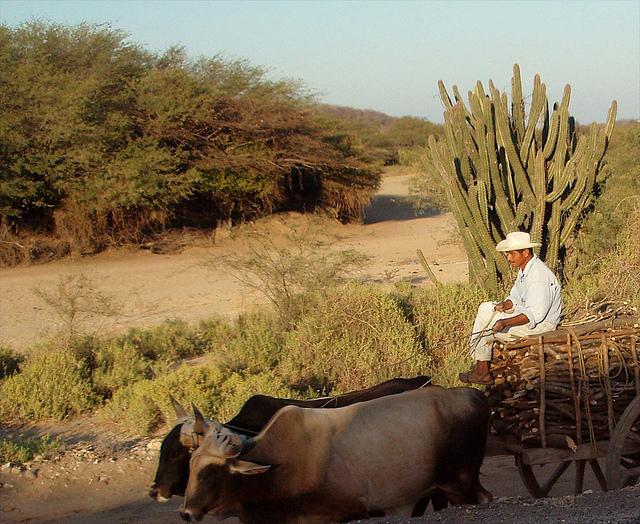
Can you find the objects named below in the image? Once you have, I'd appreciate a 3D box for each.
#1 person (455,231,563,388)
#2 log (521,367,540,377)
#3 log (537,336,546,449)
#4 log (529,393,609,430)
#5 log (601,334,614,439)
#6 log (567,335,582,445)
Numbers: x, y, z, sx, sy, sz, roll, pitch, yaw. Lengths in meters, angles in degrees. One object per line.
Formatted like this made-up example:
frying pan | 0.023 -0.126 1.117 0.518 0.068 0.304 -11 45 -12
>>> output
person | 2.177 0.370 9.060 0.921 1.412 0.731 4 23 31
log | 2.072 1.056 8.184 0.205 0.069 0.056 -23 31 24
log | 2.172 1.293 8.211 0.071 1.373 0.095 0 27 18
log | 2.399 1.434 8.193 0.618 0.064 0.082 27 -37 -4
log | 2.804 1.161 8.244 0.104 1.107 0.077 -3 -2 -5
log | 2.508 1.275 8.199 0.058 1.042 0.363 8 -14 6
